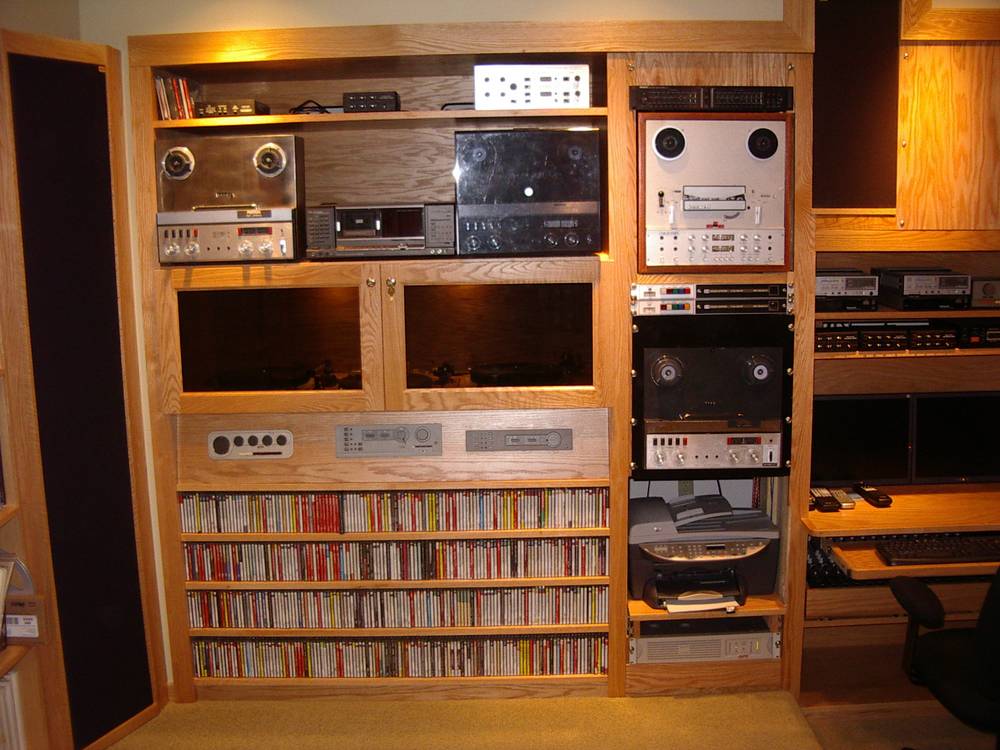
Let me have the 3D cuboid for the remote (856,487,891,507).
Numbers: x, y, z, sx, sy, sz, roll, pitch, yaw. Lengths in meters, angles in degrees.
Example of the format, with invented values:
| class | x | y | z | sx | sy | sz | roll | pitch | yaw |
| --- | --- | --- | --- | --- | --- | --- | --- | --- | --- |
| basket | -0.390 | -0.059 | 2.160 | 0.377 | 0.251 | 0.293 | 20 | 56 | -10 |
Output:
| class | x | y | z | sx | sy | sz | roll | pitch | yaw |
| --- | --- | --- | --- | --- | --- | --- | --- | --- | --- |
| remote | 1.786 | 0.579 | 4.401 | 0.075 | 0.027 | 0.140 | 2 | 12 | 2 |

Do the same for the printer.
| class | x | y | z | sx | sy | sz | roll | pitch | yaw |
| --- | --- | --- | --- | --- | --- | --- | --- | --- | --- |
| printer | 0.926 | 0.840 | 4.448 | 0.584 | 0.307 | 0.546 | -1 | 13 | 0 |

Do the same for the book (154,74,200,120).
| class | x | y | z | sx | sy | sz | roll | pitch | yaw |
| --- | --- | --- | --- | --- | --- | --- | --- | --- | --- |
| book | -1.461 | -1.253 | 4.139 | 0.166 | 0.229 | 0.164 | -6 | 9 | -28 |

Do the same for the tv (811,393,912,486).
| class | x | y | z | sx | sy | sz | roll | pitch | yaw |
| --- | --- | --- | --- | --- | --- | --- | --- | --- | --- |
| tv | 1.739 | 0.297 | 4.450 | 0.513 | 0.378 | 0.051 | 0 | 2 | 1 |
